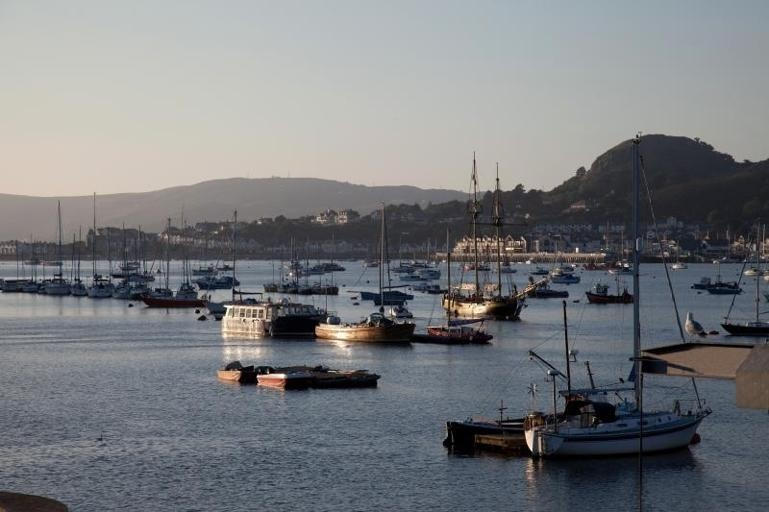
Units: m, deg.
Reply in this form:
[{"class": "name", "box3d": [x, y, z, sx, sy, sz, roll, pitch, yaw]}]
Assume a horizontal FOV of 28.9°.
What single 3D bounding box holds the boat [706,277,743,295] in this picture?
[{"class": "boat", "box3d": [59.985, 5.151, 262.501, 6.990, 2.681, 3.128, 2, 0, 9]}]
